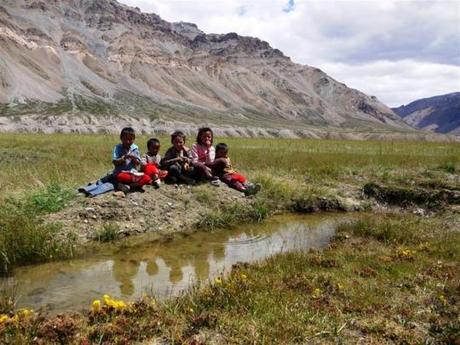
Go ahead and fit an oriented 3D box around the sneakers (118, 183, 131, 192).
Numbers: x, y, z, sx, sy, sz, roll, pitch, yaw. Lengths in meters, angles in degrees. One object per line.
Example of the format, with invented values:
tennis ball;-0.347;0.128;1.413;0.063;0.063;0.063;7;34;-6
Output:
sneakers;-3.105;0.451;11.621;0.330;0.199;0.131;21;15;33

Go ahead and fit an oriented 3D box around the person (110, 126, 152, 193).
person;-2.994;-0.412;11.815;1.025;1.825;0.713;-8;11;-37
